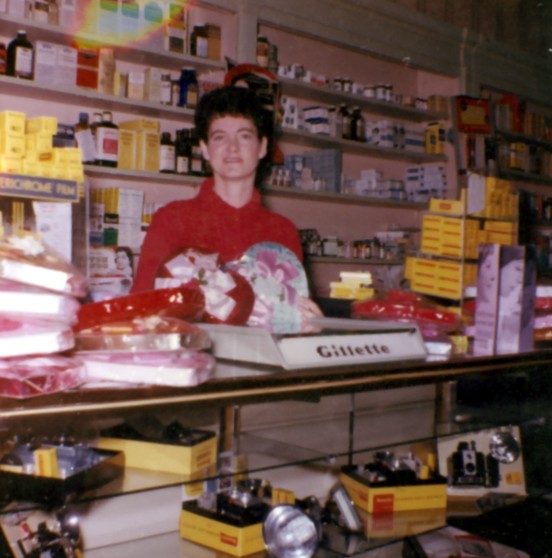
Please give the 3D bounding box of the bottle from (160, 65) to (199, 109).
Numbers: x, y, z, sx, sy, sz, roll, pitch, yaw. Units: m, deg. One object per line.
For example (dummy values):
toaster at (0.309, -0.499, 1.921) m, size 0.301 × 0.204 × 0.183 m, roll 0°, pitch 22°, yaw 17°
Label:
bottle at (-0.518, -1.025, 3.236) m, size 0.285 × 0.227 × 0.167 m, roll 3°, pitch 13°, yaw 6°

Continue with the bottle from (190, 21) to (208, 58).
bottle at (-0.420, -1.305, 3.280) m, size 0.103 × 0.196 × 0.096 m, roll 1°, pitch 5°, yaw 0°

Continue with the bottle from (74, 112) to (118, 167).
bottle at (-0.912, -0.696, 2.988) m, size 0.191 × 0.277 × 0.186 m, roll 1°, pitch 5°, yaw 0°
